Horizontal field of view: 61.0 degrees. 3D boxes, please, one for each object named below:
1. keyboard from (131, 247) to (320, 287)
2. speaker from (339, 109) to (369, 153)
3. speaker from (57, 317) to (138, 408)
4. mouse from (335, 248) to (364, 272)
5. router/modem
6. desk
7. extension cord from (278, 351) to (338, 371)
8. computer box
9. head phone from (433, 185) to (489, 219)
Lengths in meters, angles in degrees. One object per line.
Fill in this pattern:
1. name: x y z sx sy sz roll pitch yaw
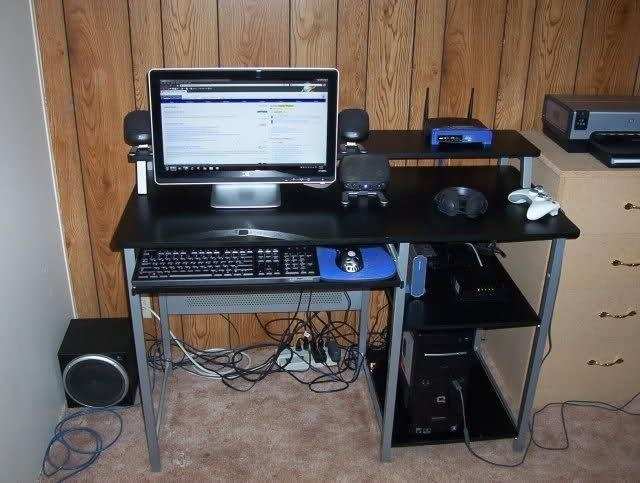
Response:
1. keyboard: -0.332 0.089 1.975 0.658 0.072 0.175 -1 31 -2
2. speaker: 0.119 -0.475 2.316 0.148 0.211 0.174 -2 46 0
3. speaker: -1.012 0.558 2.581 0.337 0.365 0.300 -3 26 -10
4. mouse: 0.113 0.067 2.013 0.069 0.035 0.097 -2 33 -2
5. router/modem: 0.600 -0.538 2.421 0.260 0.255 0.282 -1 33 1
6. desk: 0.202 -0.007 3.385 2.583 1.975 1.166 -2 23 -5
7. extension cord: -0.071 0.612 2.769 0.237 0.060 0.119 2 28 -4
8. computer box: 0.493 0.510 2.430 0.382 0.736 0.515 0 28 3
9. head phone: 0.545 -0.177 2.111 0.128 0.070 0.152 -1 20 -5
